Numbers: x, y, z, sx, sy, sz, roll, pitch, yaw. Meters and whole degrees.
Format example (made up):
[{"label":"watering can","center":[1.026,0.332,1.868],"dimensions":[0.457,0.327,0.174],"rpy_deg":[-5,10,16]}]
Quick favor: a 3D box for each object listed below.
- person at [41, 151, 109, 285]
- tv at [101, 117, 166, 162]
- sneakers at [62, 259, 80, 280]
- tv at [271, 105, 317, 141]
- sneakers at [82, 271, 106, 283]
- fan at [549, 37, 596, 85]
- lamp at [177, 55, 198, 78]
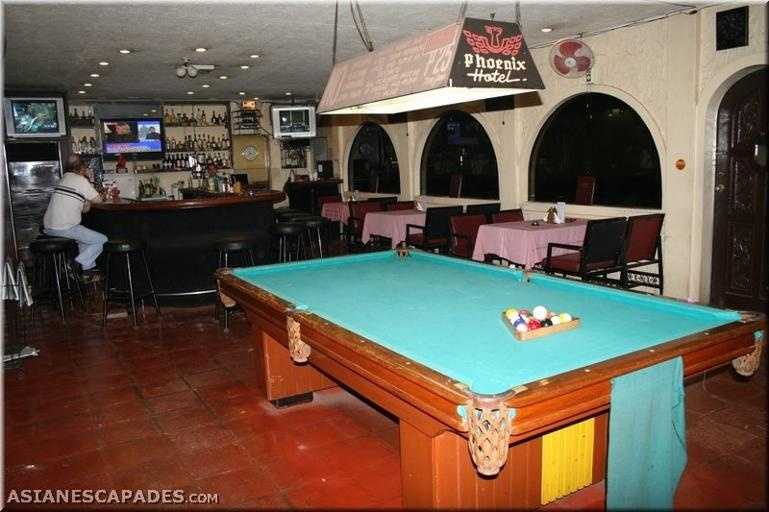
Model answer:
[{"label":"person","center":[-4.037,-0.456,6.847],"dimensions":[0.710,1.724,0.930],"rpy_deg":[-9,12,-31]},{"label":"tv","center":[-5.159,-2.361,10.658],"dimensions":[1.464,0.900,0.190],"rpy_deg":[-2,5,-21]},{"label":"sneakers","center":[-4.425,0.189,7.505],"dimensions":[0.248,0.256,0.705],"rpy_deg":[-1,2,-40]},{"label":"tv","center":[-1.941,-2.793,11.229],"dimensions":[1.285,0.783,0.710],"rpy_deg":[-1,12,-15]},{"label":"sneakers","center":[-4.049,0.285,7.344],"dimensions":[0.472,0.174,0.194],"rpy_deg":[-2,0,21]},{"label":"fan","center":[2.285,-2.443,6.495],"dimensions":[0.479,0.434,0.787],"rpy_deg":[0,9,17]},{"label":"lamp","center":[-2.808,-2.641,7.462],"dimensions":[0.249,0.135,0.382],"rpy_deg":[-5,30,-21]}]
